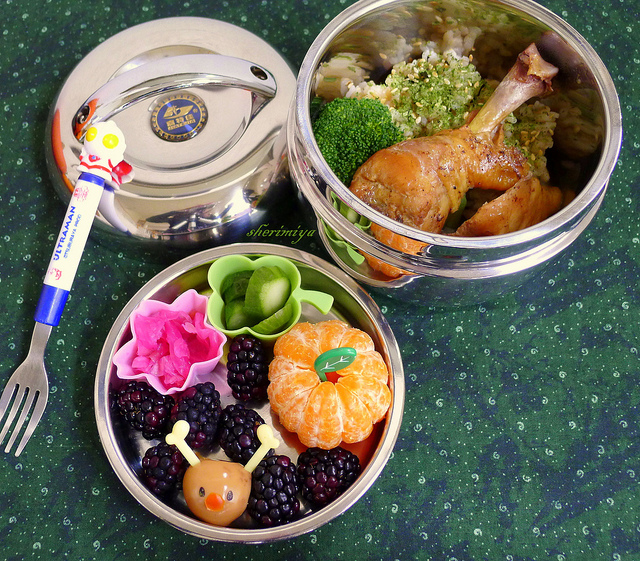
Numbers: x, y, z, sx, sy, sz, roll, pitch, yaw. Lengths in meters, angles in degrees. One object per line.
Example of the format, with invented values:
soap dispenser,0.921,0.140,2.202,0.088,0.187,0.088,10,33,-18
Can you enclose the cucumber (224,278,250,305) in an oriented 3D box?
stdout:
cucumber,-0.139,0.017,1.043,0.017,0.032,0.043,40,92,3

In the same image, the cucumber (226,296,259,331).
cucumber,-0.130,0.052,1.043,0.046,0.053,0.014,-24,40,-6

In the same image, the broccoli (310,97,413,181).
broccoli,0.066,-0.223,1.007,0.124,0.050,0.149,3,96,-2

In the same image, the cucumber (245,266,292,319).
cucumber,-0.086,0.024,1.031,0.066,0.054,0.078,24,83,0

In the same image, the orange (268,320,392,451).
orange,0.012,0.162,1.008,0.195,0.074,0.204,-14,85,-4

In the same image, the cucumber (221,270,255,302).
cucumber,-0.139,0.003,1.080,0.037,0.047,0.054,34,123,45
